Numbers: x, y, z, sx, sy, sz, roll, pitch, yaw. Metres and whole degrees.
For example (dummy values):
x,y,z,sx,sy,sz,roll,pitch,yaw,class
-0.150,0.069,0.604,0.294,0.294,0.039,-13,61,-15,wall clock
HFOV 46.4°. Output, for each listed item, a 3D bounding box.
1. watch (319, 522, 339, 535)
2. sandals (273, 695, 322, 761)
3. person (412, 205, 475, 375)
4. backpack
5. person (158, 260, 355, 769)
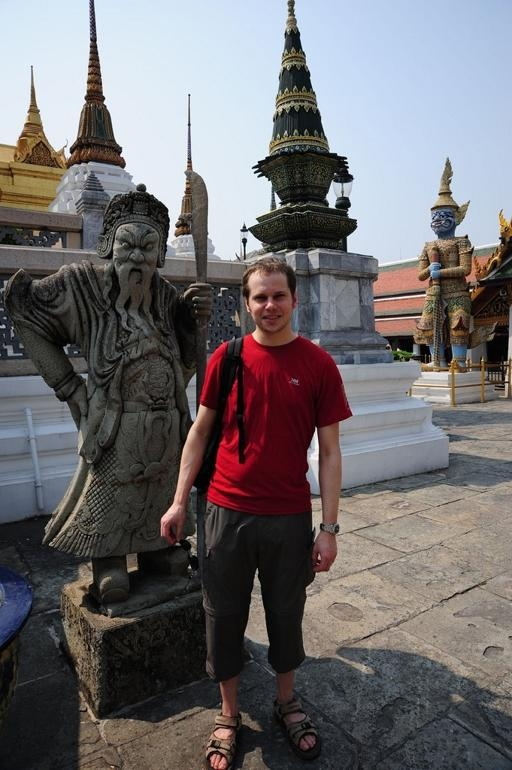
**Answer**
x,y,z,sx,sy,sz,roll,pitch,yaw,class
0.238,0.459,1.925,0.057,0.037,0.059,-4,-11,32,watch
0.145,1.145,2.044,0.098,0.092,0.277,-7,12,-23,sandals
4.626,-2.321,14.636,1.329,3.830,0.799,3,7,34,person
-0.107,0.110,2.040,0.259,0.443,0.110,4,-1,37,backpack
0.003,0.387,2.021,0.615,1.609,0.287,0,6,9,person
